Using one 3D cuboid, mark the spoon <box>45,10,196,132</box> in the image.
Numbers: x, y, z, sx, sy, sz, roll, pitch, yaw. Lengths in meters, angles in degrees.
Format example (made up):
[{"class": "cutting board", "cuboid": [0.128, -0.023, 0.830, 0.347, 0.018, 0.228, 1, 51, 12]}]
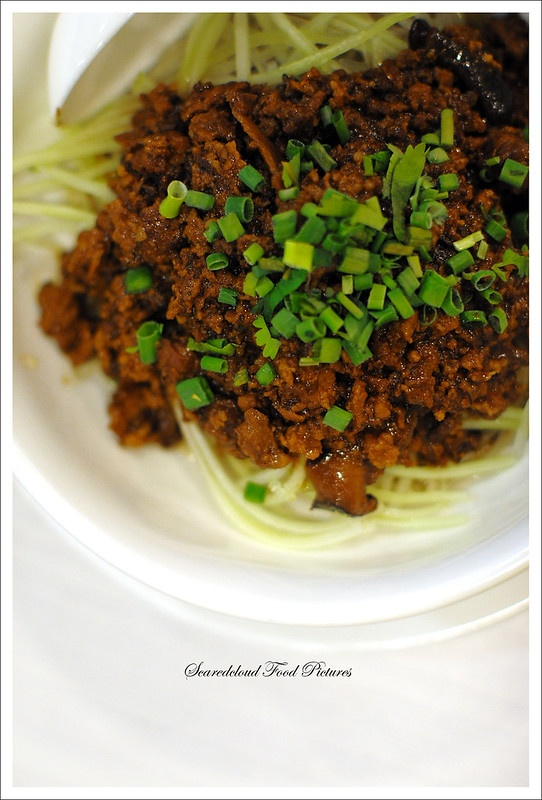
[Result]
[{"class": "spoon", "cuboid": [-0.382, -0.851, 1.936, 0.113, 0.270, 0.307, 47, -43, -6]}]
